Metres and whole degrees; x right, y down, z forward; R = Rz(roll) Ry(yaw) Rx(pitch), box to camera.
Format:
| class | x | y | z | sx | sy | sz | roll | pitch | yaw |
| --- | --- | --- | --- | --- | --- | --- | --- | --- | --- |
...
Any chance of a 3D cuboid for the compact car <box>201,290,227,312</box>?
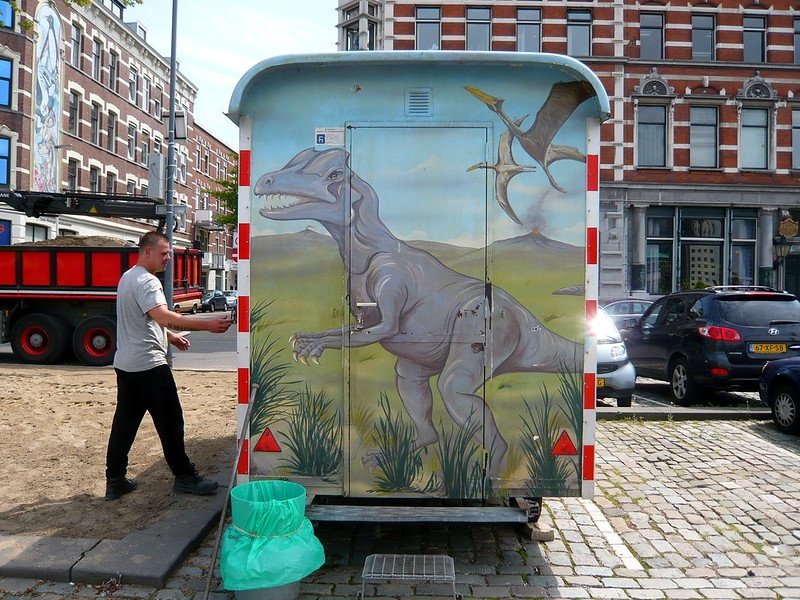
| class | x | y | z | sx | sy | sz | roll | pitch | yaw |
| --- | --- | --- | --- | --- | --- | --- | --- | --- | --- |
| compact car | -9.192 | 0.060 | 43.148 | 1.361 | 1.110 | 2.541 | -1 | -2 | 4 |

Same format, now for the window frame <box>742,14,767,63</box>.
| class | x | y | z | sx | sy | sz | roll | pitch | yaw |
| --- | --- | --- | --- | --- | --- | --- | --- | --- | --- |
| window frame | 12.756 | -9.397 | 32.096 | 0.792 | 1.736 | 0.188 | 2 | -5 | 10 |

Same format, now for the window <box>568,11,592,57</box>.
| class | x | y | z | sx | sy | sz | roll | pitch | yaw |
| --- | --- | --- | --- | --- | --- | --- | --- | --- | --- |
| window | 6.424 | -9.576 | 31.766 | 0.880 | 1.711 | 0.172 | 1 | -4 | 2 |

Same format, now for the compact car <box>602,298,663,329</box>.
| class | x | y | z | sx | sy | sz | roll | pitch | yaw |
| --- | --- | --- | --- | --- | --- | --- | --- | --- | --- |
| compact car | 5.910 | 0.451 | 22.458 | 1.700 | 0.714 | 0.975 | 0 | 3 | 22 |

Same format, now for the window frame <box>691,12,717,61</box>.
| class | x | y | z | sx | sy | sz | roll | pitch | yaw |
| --- | --- | --- | --- | --- | --- | --- | --- | --- | --- |
| window frame | 10.904 | -9.538 | 32.050 | 0.997 | 1.740 | 0.112 | 12 | 39 | 33 |

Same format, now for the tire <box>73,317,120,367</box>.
| class | x | y | z | sx | sy | sz | roll | pitch | yaw |
| --- | --- | --- | --- | --- | --- | --- | --- | --- | --- |
| tire | -5.942 | 0.838 | 17.835 | 0.997 | 0.971 | 0.345 | 20 | 4 | 6 |

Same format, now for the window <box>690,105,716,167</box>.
| class | x | y | z | sx | sy | sz | roll | pitch | yaw |
| --- | --- | --- | --- | --- | --- | --- | --- | --- | --- |
| window | 10.962 | -5.830 | 32.150 | 1.183 | 2.426 | 0.155 | 2 | -9 | -1 |

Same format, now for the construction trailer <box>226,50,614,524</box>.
| class | x | y | z | sx | sy | sz | roll | pitch | yaw |
| --- | --- | --- | --- | --- | --- | --- | --- | --- | --- |
| construction trailer | 0.197 | -0.283 | 10.716 | 4.044 | 4.796 | 3.312 | -1 | 6 | 0 |

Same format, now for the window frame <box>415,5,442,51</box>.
| class | x | y | z | sx | sy | sz | roll | pitch | yaw |
| --- | --- | --- | --- | --- | --- | --- | --- | --- | --- |
| window frame | 1.038 | -9.726 | 31.603 | 0.901 | 1.554 | 0.550 | -1 | 2 | -1 |

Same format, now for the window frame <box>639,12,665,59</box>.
| class | x | y | z | sx | sy | sz | roll | pitch | yaw |
| --- | --- | --- | --- | --- | --- | --- | --- | --- | --- |
| window frame | 9.032 | -9.508 | 31.956 | 0.900 | 1.717 | 0.094 | 0 | -2 | 0 |

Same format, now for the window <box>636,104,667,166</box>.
| class | x | y | z | sx | sy | sz | roll | pitch | yaw |
| --- | --- | --- | --- | --- | --- | --- | --- | --- | --- |
| window | 9.104 | -5.844 | 32.014 | 1.169 | 2.443 | 0.112 | 7 | 32 | 30 |
